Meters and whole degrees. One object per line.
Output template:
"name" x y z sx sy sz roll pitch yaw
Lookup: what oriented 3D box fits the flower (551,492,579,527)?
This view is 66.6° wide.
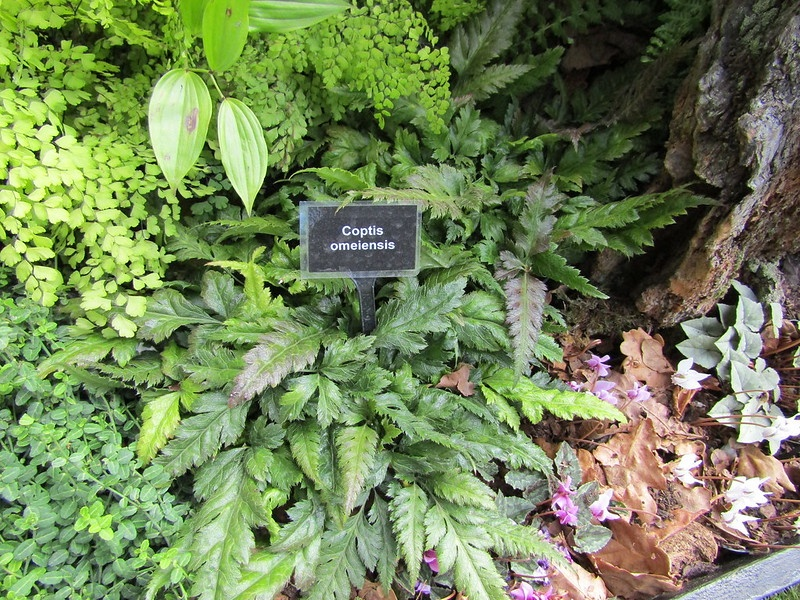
"flower" 0.612 0.771 2.266 0.118 0.050 0.113 -14 81 -14

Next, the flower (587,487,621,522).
"flower" 0.772 0.774 2.331 0.118 0.108 0.117 16 39 -2

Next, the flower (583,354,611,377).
"flower" 0.828 0.271 2.554 0.092 0.042 0.091 22 79 20

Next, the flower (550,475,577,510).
"flower" 0.608 0.724 2.281 0.045 0.111 0.109 34 29 -37

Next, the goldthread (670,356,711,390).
"goldthread" 1.192 0.316 2.521 0.130 0.072 0.137 -36 67 3

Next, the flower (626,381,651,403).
"flower" 0.986 0.388 2.545 0.087 0.084 0.037 31 70 -9

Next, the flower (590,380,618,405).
"flower" 0.840 0.376 2.503 0.107 0.101 0.062 24 51 24
